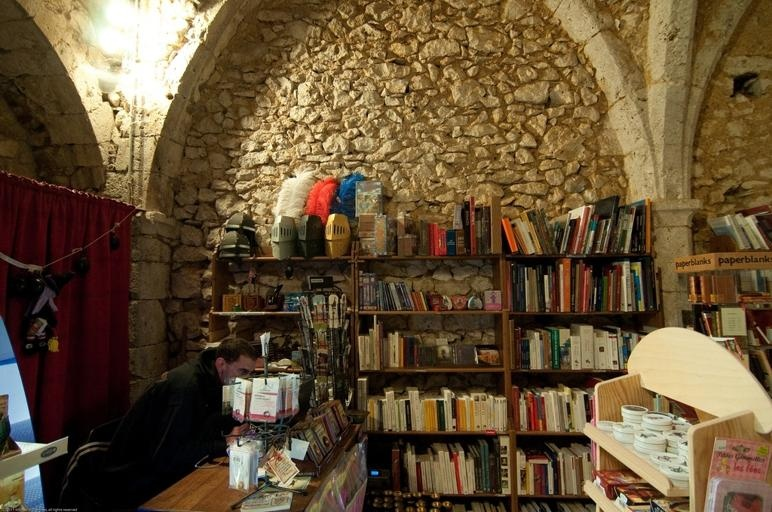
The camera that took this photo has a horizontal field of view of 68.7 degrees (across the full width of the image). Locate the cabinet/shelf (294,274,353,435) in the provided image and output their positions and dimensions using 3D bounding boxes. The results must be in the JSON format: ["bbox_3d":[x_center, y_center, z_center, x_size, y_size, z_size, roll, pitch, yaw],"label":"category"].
[{"bbox_3d":[-0.562,0.723,4.944,0.355,1.166,0.420,-3,3,-15],"label":"cabinet/shelf"}]

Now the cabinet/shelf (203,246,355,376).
[{"bbox_3d":[-0.944,0.510,5.205,1.292,1.146,0.427,-1,-6,0],"label":"cabinet/shelf"}]

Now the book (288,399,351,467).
[{"bbox_3d":[-0.464,1.294,4.208,0.289,0.122,0.381,22,9,8],"label":"book"}]

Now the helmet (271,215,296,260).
[{"bbox_3d":[-0.985,-0.209,5.435,0.255,0.316,0.357,9,9,8],"label":"helmet"}]

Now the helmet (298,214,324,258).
[{"bbox_3d":[-0.700,-0.184,5.361,0.247,0.397,0.130,-1,-9,-9],"label":"helmet"}]

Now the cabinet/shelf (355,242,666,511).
[{"bbox_3d":[1.130,1.110,5.041,2.687,2.121,0.818,0,-7,0],"label":"cabinet/shelf"}]

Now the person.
[{"bbox_3d":[-1.675,1.361,4.505,1.035,1.219,0.487,-5,-9,18],"label":"person"}]

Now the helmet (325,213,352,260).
[{"bbox_3d":[-0.470,-0.213,5.507,0.295,0.350,0.396,2,4,6],"label":"helmet"}]

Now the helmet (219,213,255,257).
[{"bbox_3d":[-1.402,-0.194,5.399,0.333,0.380,0.448,1,0,2],"label":"helmet"}]
